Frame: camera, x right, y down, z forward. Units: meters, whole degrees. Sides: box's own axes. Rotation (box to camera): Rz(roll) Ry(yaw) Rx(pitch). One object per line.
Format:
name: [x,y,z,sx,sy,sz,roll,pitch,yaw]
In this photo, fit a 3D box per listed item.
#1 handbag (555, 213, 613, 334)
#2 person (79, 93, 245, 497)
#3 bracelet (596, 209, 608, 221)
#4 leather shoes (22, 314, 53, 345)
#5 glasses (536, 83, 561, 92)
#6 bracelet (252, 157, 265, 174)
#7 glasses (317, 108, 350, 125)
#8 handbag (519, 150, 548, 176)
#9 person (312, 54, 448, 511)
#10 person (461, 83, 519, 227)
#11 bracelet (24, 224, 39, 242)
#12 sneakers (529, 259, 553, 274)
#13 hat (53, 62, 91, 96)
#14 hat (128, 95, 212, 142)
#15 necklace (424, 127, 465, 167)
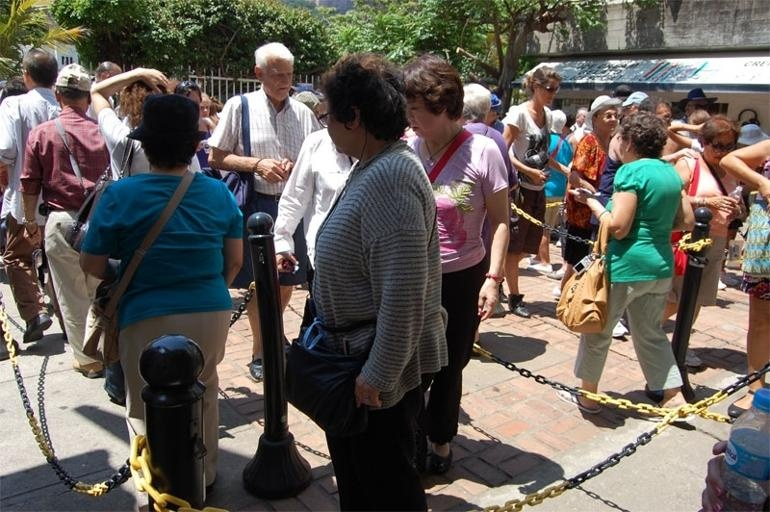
handbag: [1.682,0.158,4.985,0.387,0.892,0.367,3,14,13]
person: [-1.399,0.323,3.879,1.017,2.697,0.501,-7,15,-27]
bracelet: [1.904,-0.368,5.155,0.073,0.073,0.073,43,24,-7]
leather shoes: [-3.604,0.710,6.086,0.174,0.393,0.168,49,11,24]
glasses: [1.959,-1.957,6.904,0.315,0.096,0.169,-12,17,-42]
bracelet: [-1.128,-0.791,5.187,0.095,0.105,0.053,5,14,20]
glasses: [-0.291,-0.769,3.309,0.129,0.039,0.129,5,5,7]
handbag: [1.856,-1.164,7.312,0.282,0.291,0.220,0,19,-3]
person: [-0.041,0.185,3.307,0.742,2.555,0.529,3,14,13]
person: [1.171,-0.952,5.872,0.519,1.660,0.604,-11,49,8]
bracelet: [-3.461,-0.240,5.739,0.129,0.131,0.229,9,-7,-17]
sneakers: [2.427,0.150,9.214,0.167,0.170,0.440,-5,15,-23]
hat: [-2.834,-1.595,5.310,0.268,0.207,0.385,-1,23,-16]
hat: [-1.402,-0.896,3.849,0.418,0.295,0.579,19,26,29]
necklace: [0.430,-0.798,4.320,0.300,0.074,0.222,-36,21,-9]
